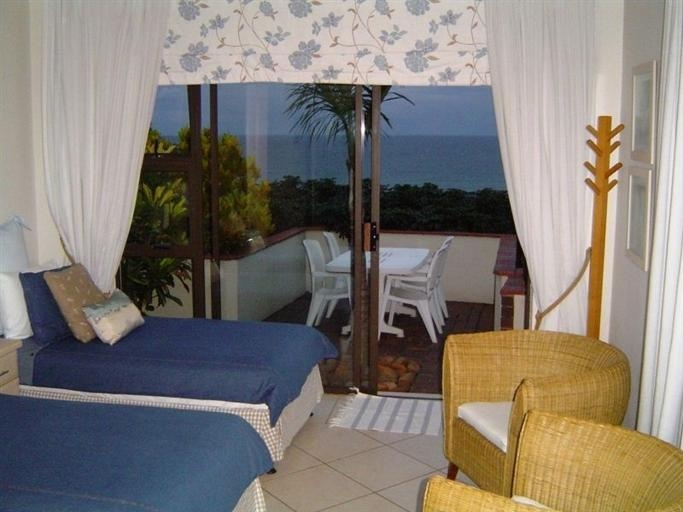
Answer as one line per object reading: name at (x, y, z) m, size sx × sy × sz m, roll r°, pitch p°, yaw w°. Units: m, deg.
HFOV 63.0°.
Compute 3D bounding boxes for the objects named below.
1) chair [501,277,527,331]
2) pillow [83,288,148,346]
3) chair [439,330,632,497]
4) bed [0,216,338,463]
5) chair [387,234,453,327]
chair at (1.515, 0.430, 4.907) m, size 0.227 × 0.471 × 0.529 m, roll 4°, pitch 13°, yaw 17°
pillow at (-1.645, 0.443, 4.006) m, size 0.123 × 0.305 × 0.413 m, roll -27°, pitch 6°, yaw 16°
chair at (1.126, 0.991, 3.168) m, size 0.867 × 0.961 × 0.957 m, roll -2°, pitch 5°, yaw -18°
bed at (-1.159, 0.527, 4.017) m, size 1.823 × 1.210 × 1.186 m, roll 2°, pitch 12°, yaw 9°
chair at (0.960, 0.343, 6.677) m, size 0.742 × 1.158 × 0.797 m, roll 7°, pitch 17°, yaw 20°
